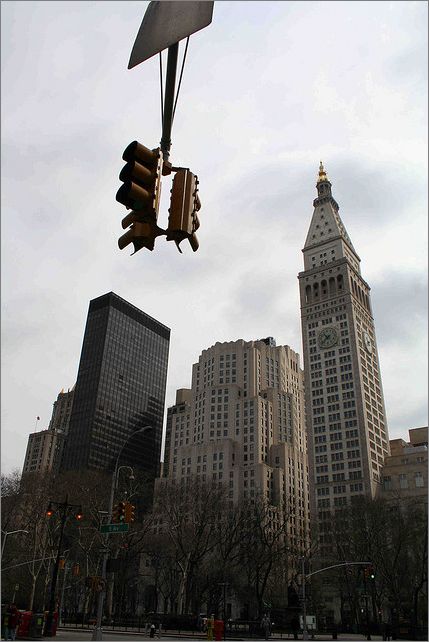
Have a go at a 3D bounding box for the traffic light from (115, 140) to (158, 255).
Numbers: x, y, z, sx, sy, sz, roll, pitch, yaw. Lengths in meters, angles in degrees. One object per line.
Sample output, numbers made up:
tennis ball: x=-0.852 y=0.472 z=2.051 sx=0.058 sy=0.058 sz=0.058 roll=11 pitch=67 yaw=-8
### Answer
traffic light: x=-0.735 y=-1.230 z=4.823 sx=0.434 sy=1.126 sz=0.548 roll=6 pitch=-26 yaw=-5
